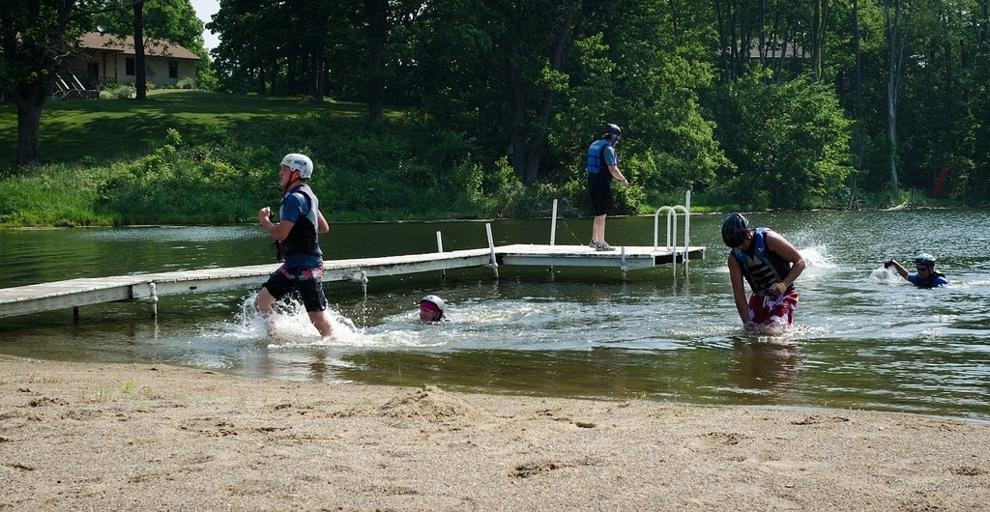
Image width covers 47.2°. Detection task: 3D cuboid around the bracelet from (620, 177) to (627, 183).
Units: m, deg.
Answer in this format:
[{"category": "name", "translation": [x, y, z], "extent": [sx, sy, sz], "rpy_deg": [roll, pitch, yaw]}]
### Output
[{"category": "bracelet", "translation": [6.479, -3.888, 57.068], "extent": [0.434, 0.086, 0.400], "rpy_deg": [13, -3, 14]}]
